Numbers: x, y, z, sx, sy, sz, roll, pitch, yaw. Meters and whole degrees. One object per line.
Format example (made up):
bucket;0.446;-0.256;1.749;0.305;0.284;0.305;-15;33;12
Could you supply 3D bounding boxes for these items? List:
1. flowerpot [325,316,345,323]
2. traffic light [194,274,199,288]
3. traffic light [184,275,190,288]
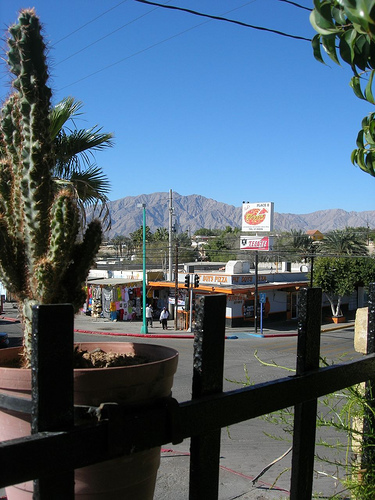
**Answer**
flowerpot;9.482;4.487;31.659;1.319;0.484;0.950;-1;-1;31
traffic light;0.414;1.631;25.467;0.204;0.669;0.560;0;-1;-10
traffic light;-0.039;1.651;25.695;0.218;0.660;0.492;0;-1;-9
